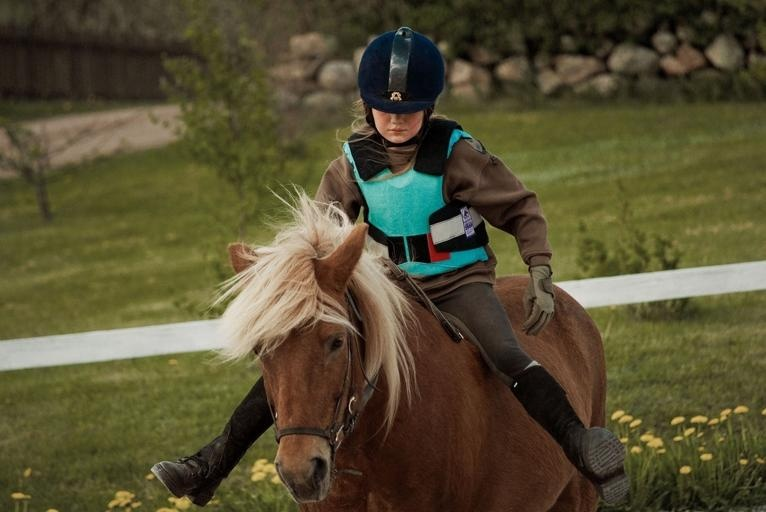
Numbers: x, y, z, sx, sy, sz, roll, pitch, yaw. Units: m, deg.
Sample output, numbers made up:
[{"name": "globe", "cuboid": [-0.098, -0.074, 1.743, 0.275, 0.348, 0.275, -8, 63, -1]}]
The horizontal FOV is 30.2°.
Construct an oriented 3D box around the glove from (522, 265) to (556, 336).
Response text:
[{"name": "glove", "cuboid": [1.614, 0.460, 14.905, 0.401, 0.655, 0.280, -4, 0, 0]}]
